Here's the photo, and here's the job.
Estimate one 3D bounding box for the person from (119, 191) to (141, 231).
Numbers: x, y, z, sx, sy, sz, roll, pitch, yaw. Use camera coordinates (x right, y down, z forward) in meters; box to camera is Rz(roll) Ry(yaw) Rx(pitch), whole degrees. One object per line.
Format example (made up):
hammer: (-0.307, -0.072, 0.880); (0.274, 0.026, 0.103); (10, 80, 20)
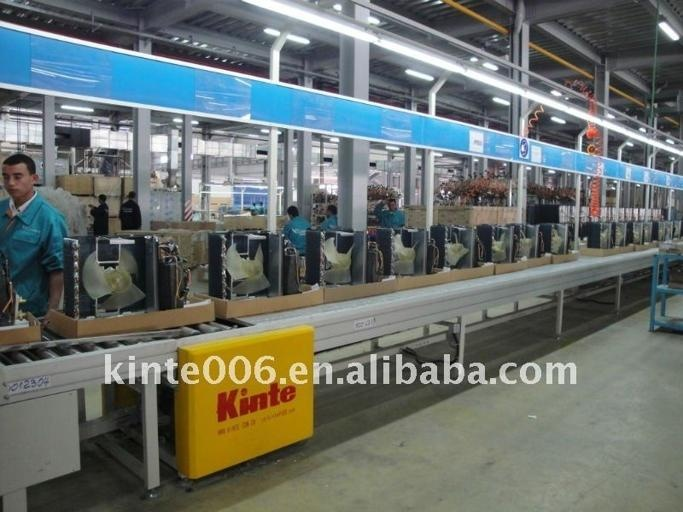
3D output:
person: (-3.665, -0.774, 9.265); (0.317, 0.637, 1.013); (-5, 13, -21)

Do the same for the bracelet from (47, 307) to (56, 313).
bracelet: (-1.687, 0.314, 3.120); (0.035, 0.022, 0.035); (2, 0, 35)

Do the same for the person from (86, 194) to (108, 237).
person: (-4.226, -0.705, 9.350); (0.318, 0.702, 1.322); (-5, 13, -23)

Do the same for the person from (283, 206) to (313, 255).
person: (-0.547, -0.304, 6.591); (0.317, 0.619, 0.768); (-1, 12, -6)
